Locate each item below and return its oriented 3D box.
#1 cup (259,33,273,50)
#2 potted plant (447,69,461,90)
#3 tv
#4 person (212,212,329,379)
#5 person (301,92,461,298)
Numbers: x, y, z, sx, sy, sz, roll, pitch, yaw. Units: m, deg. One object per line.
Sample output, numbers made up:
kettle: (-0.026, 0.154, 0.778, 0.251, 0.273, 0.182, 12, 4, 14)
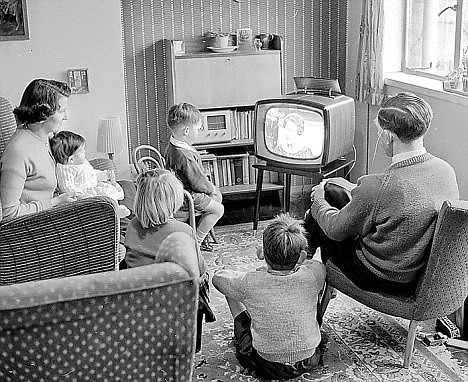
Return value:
cup: (0.307, -1.450, 3.966, 0.170, 0.159, 0.098, 0, 9, -14)
potted plant: (1.700, -0.856, 3.131, 0.099, 0.135, 0.163, 6, 19, 27)
tv: (0.595, -0.443, 3.384, 0.650, 0.575, 0.656, 7, 13, 36)
person: (0.208, 0.413, 2.134, 0.614, 0.905, 0.750, -2, 26, -7)
person: (0.700, 0.029, 1.981, 0.664, 0.951, 0.307, 8, 20, 30)
